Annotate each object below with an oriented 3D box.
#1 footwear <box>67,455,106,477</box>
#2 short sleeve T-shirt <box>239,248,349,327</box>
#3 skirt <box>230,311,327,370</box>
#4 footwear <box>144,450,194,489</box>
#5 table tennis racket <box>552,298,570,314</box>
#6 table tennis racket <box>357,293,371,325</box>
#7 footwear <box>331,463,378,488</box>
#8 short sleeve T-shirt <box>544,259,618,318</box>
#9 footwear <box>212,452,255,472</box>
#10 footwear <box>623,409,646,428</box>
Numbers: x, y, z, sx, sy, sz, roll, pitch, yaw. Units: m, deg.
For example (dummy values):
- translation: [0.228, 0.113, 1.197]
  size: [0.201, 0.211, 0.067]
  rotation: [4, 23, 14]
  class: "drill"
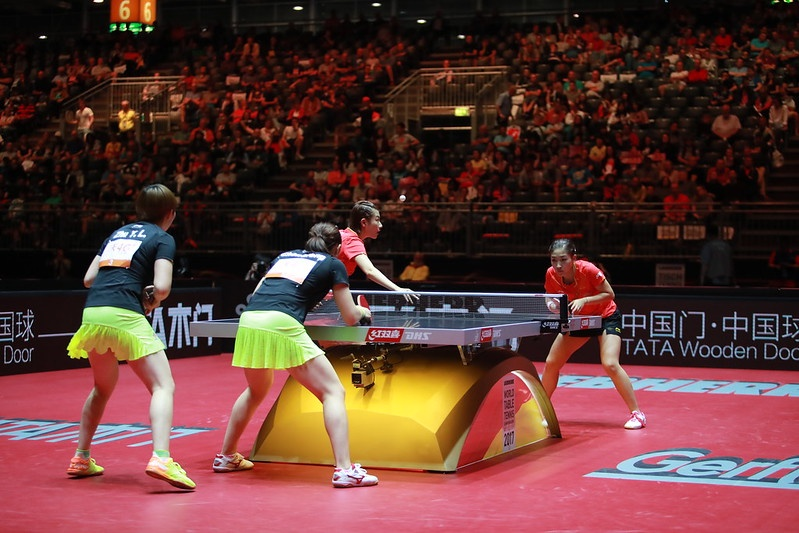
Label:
- translation: [-2.908, 1.851, 6.966]
  size: [0.158, 0.158, 0.352]
  rotation: [0, -4, 27]
  class: "footwear"
- translation: [-0.978, 0.198, 6.889]
  size: [0.900, 0.762, 0.497]
  rotation: [6, -24, 28]
  class: "short sleeve T-shirt"
- translation: [-1.129, 0.662, 6.549]
  size: [0.793, 0.424, 0.526]
  rotation: [4, 6, 19]
  class: "skirt"
- translation: [-1.961, 1.753, 6.407]
  size: [0.558, 0.232, 0.195]
  rotation: [28, -3, -34]
  class: "footwear"
- translation: [1.685, 0.396, 7.733]
  size: [0.108, 0.163, 0.167]
  rotation: [-3, 3, -8]
  class: "table tennis racket"
- translation: [-0.357, 0.479, 7.493]
  size: [0.113, 0.398, 0.106]
  rotation: [6, -23, -38]
  class: "table tennis racket"
- translation: [-0.404, 1.866, 6.690]
  size: [0.461, 0.194, 0.165]
  rotation: [4, -2, -17]
  class: "footwear"
- translation: [2.191, 0.351, 8.982]
  size: [0.681, 0.306, 0.822]
  rotation: [10, -34, 29]
  class: "short sleeve T-shirt"
- translation: [-1.606, 1.878, 7.214]
  size: [0.401, 0.164, 0.157]
  rotation: [4, -1, -30]
  class: "footwear"
- translation: [2.857, 1.849, 9.088]
  size: [0.142, 0.171, 0.374]
  rotation: [5, 5, 26]
  class: "footwear"
